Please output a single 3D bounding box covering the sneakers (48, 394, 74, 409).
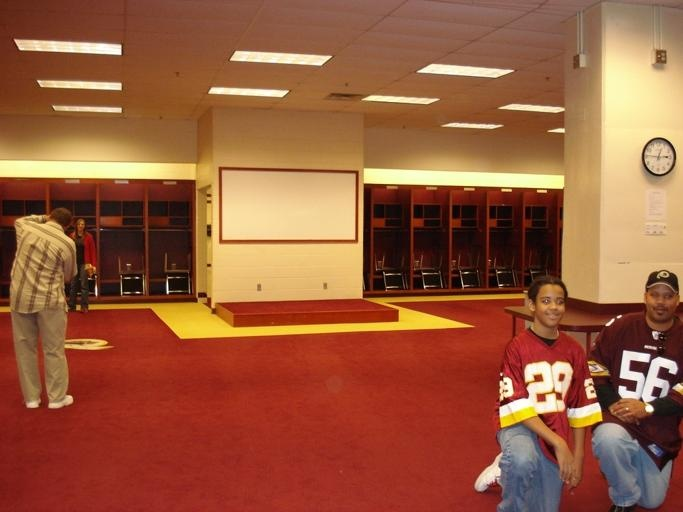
[{"bbox_3d":[-2.753,1.414,5.308,0.085,0.090,0.216,3,9,19],"label":"sneakers"}]

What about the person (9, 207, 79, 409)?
[{"bbox_3d":[-2.911,0.495,5.277,0.541,1.921,0.426,0,3,-19],"label":"person"}]

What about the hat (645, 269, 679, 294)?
[{"bbox_3d":[1.978,0.139,3.317,0.143,0.102,0.204,3,-14,32],"label":"hat"}]

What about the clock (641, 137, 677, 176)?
[{"bbox_3d":[3.647,-1.149,6.243,0.417,0.394,0.056,-10,2,-12],"label":"clock"}]

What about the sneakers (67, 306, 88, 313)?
[{"bbox_3d":[-5.485,1.113,11.220,0.407,0.078,0.189,1,2,-9],"label":"sneakers"}]

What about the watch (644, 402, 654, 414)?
[{"bbox_3d":[1.788,0.886,3.144,0.069,0.051,0.034,-1,3,-19],"label":"watch"}]

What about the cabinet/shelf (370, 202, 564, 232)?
[{"bbox_3d":[3.406,-1.112,15.012,5.334,0.678,0.675,-1,3,-19],"label":"cabinet/shelf"}]
